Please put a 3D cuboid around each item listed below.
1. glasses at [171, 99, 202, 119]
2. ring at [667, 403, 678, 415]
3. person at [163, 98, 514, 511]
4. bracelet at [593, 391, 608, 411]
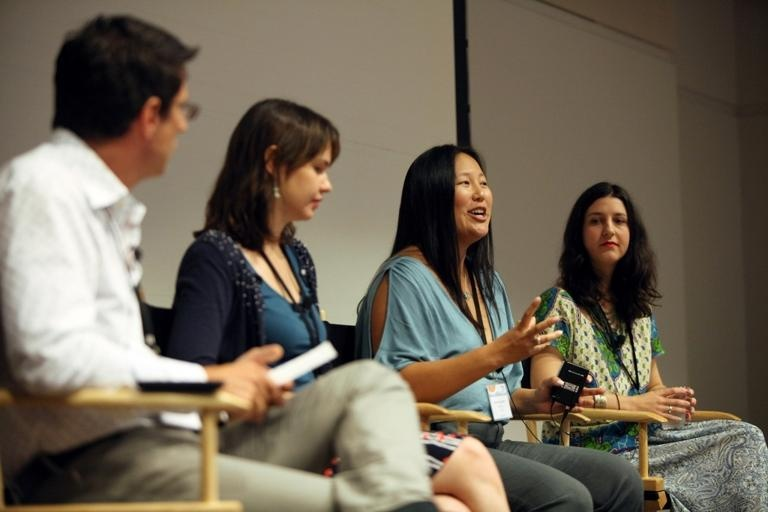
[{"bbox_3d":[-0.494,-0.368,1.657,0.062,0.024,0.046,-4,-14,40],"label":"glasses"},{"bbox_3d":[1.209,0.644,2.722,0.037,0.058,0.053,-2,15,10],"label":"ring"},{"bbox_3d":[-0.244,0.322,2.718,1.211,1.898,1.129,-15,-15,15],"label":"person"},{"bbox_3d":[0.875,0.588,2.637,0.050,0.079,0.069,-1,-4,1],"label":"bracelet"}]
